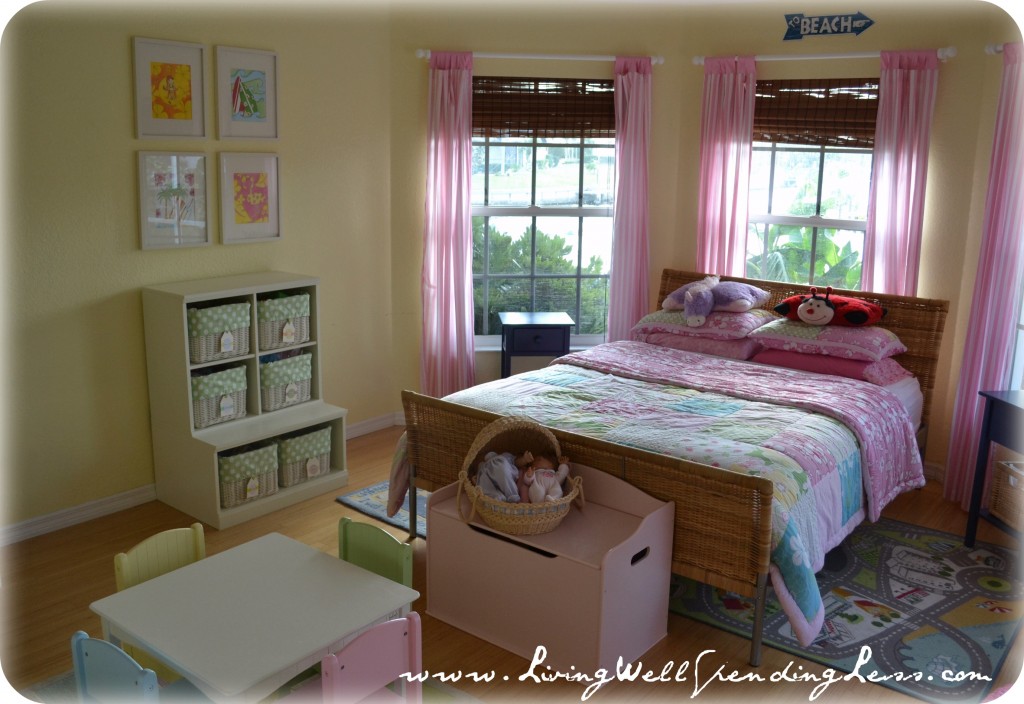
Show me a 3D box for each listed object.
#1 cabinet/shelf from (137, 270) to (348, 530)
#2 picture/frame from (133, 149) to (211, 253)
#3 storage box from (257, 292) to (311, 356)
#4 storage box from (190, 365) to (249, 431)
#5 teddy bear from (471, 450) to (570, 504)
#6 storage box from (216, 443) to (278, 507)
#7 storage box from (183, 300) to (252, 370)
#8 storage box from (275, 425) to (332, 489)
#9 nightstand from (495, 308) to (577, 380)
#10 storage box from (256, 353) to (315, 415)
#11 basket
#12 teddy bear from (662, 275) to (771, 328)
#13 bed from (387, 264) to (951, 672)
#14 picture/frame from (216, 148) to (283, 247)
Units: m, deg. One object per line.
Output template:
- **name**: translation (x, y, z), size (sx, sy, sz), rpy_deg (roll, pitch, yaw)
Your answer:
- **cabinet/shelf**: translation (-1.835, 0.344, 4.645), size (0.989, 1.771, 1.376), rpy_deg (9, 16, 35)
- **picture/frame**: translation (-2.205, -0.989, 4.586), size (0.085, 0.593, 0.465), rpy_deg (9, 17, 34)
- **storage box**: translation (-1.664, -0.223, 4.894), size (0.311, 0.349, 0.498), rpy_deg (9, 14, 24)
- **storage box**: translation (-1.952, 0.297, 4.643), size (0.217, 0.285, 0.379), rpy_deg (9, 12, 29)
- **teddy bear**: translation (0.037, 0.634, 3.556), size (0.273, 0.119, 0.333), rpy_deg (-1, 4, -41)
- **storage box**: translation (-1.789, 0.803, 4.662), size (0.245, 0.334, 0.439), rpy_deg (6, 8, 31)
- **storage box**: translation (-1.796, -0.102, 4.647), size (0.452, 0.313, 0.264), rpy_deg (-7, -6, 16)
- **storage box**: translation (-1.494, 0.728, 4.975), size (0.244, 0.309, 0.435), rpy_deg (4, 9, 33)
- **nightstand**: translation (0.157, -0.157, 6.002), size (0.709, 0.672, 0.520), rpy_deg (-1, 11, -7)
- **storage box**: translation (-1.644, 0.205, 4.961), size (0.242, 0.321, 0.422), rpy_deg (6, 11, 23)
- **basket**: translation (0.008, 0.617, 3.587), size (0.597, 0.411, 0.593), rpy_deg (-5, 12, -28)
- **teddy bear**: translation (1.600, -0.418, 5.369), size (0.524, 0.216, 0.472), rpy_deg (-21, 17, -39)
- **bed**: translation (1.306, 0.582, 4.579), size (2.249, 1.363, 2.830), rpy_deg (12, 17, 39)
- **picture/frame**: translation (-1.842, -1.082, 4.943), size (0.087, 0.614, 0.460), rpy_deg (9, 17, 34)
